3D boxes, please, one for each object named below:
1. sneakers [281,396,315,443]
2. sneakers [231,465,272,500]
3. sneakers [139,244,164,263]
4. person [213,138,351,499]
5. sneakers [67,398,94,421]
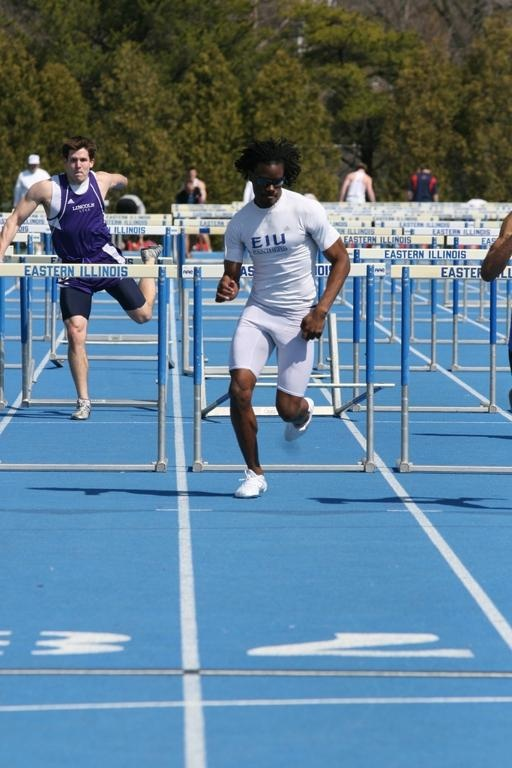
[{"bbox_3d":[0.232,0.235,6.272,0.130,0.323,0.144,21,21,34],"label":"sneakers"},{"bbox_3d":[-0.034,0.538,6.127,0.101,0.104,0.234,-7,2,11],"label":"sneakers"},{"bbox_3d":[-0.764,-0.942,8.149,0.130,0.100,0.306,9,8,9],"label":"sneakers"},{"bbox_3d":[0.131,-0.289,5.780,0.664,1.874,0.671,1,6,4],"label":"person"},{"bbox_3d":[-1.346,0.198,8.609,0.100,0.118,0.266,2,-5,1],"label":"sneakers"}]
